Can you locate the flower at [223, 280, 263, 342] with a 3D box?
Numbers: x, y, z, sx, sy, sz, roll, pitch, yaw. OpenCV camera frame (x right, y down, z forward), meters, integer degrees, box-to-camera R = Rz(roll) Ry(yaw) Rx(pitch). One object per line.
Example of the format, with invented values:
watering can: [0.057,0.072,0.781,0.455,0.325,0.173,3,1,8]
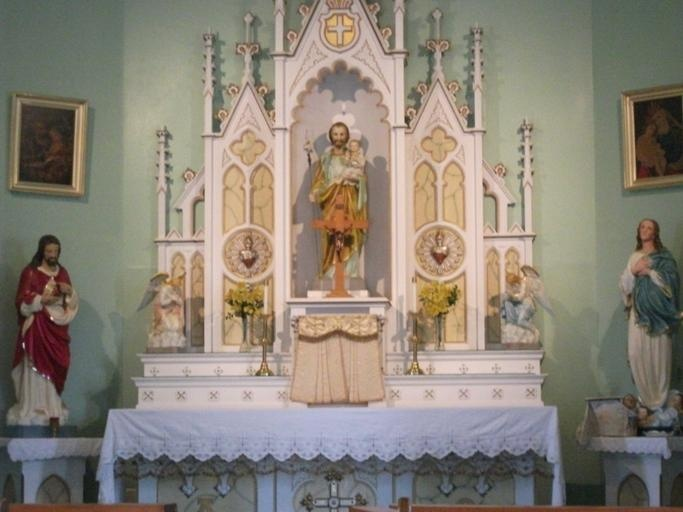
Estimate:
flower: [-1.010,0.646,18.122,0.546,0.852,0.611,0,-1,-22]

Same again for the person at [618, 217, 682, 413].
person: [3.327,0.656,17.631,0.622,2.081,0.304,-2,-5,10]

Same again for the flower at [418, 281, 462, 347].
flower: [1.087,0.671,18.048,0.483,0.786,0.495,-1,-5,3]

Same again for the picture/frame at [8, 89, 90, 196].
picture/frame: [-3.360,-1.267,18.533,1.078,1.511,0.106,3,-9,-22]

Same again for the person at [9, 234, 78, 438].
person: [-3.258,0.836,17.772,0.731,2.100,0.316,0,-5,-13]
